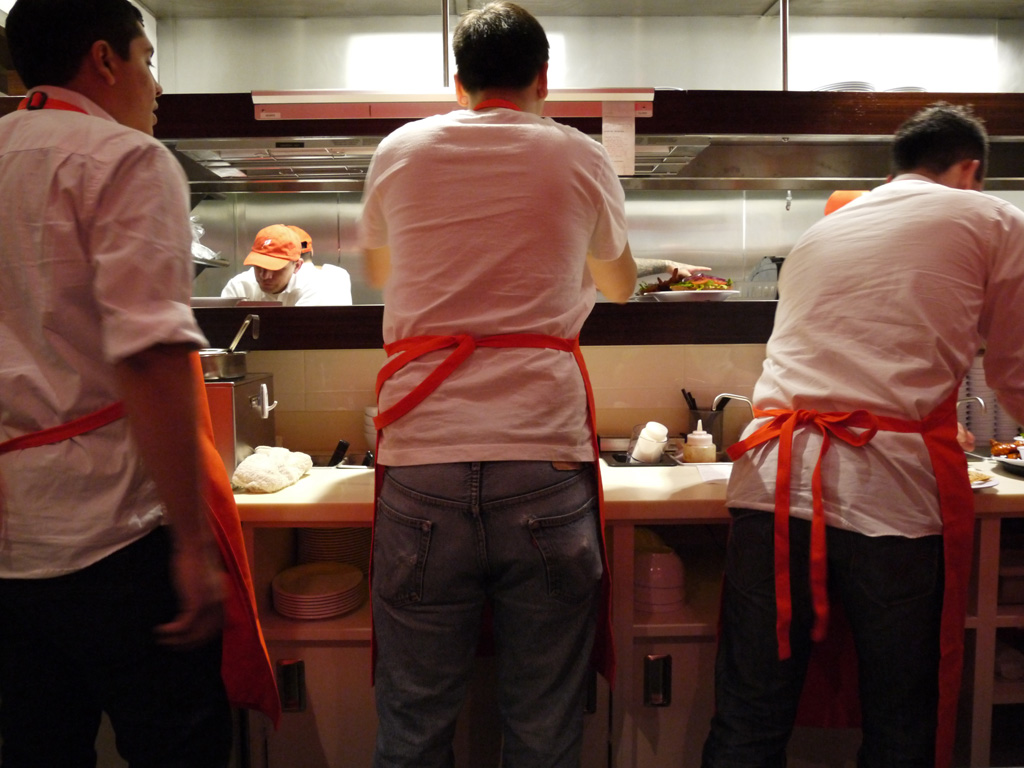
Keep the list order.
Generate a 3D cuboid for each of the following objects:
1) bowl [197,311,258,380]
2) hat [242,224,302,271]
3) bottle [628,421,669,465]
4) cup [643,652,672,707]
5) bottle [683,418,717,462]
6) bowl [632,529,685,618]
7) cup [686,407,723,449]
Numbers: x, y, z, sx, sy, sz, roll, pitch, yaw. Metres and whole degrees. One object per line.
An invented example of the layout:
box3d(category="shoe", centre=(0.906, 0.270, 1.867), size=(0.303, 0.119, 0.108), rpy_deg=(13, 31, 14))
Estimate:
box3d(category="bowl", centre=(-0.792, -0.100, 2.632), size=(0.181, 0.166, 0.126), rpy_deg=(-4, 3, 7))
box3d(category="hat", centre=(-0.935, -0.538, 3.716), size=(0.156, 0.111, 0.224), rpy_deg=(10, 16, 10))
box3d(category="bottle", centre=(0.435, 0.191, 2.973), size=(0.081, 0.131, 0.078), rpy_deg=(23, 8, -3))
box3d(category="cup", centre=(0.391, 0.789, 2.504), size=(0.072, 0.139, 0.035), rpy_deg=(-1, 10, 4))
box3d(category="bottle", centre=(0.588, 0.191, 3.001), size=(0.115, 0.149, 0.110), rpy_deg=(1, -2, 0))
box3d(category="bowl", centre=(0.401, 0.524, 2.630), size=(0.168, 0.158, 0.172), rpy_deg=(-1, 2, 0))
box3d(category="cup", centre=(0.661, 0.150, 3.142), size=(0.126, 0.123, 0.118), rpy_deg=(1, 4, 0))
